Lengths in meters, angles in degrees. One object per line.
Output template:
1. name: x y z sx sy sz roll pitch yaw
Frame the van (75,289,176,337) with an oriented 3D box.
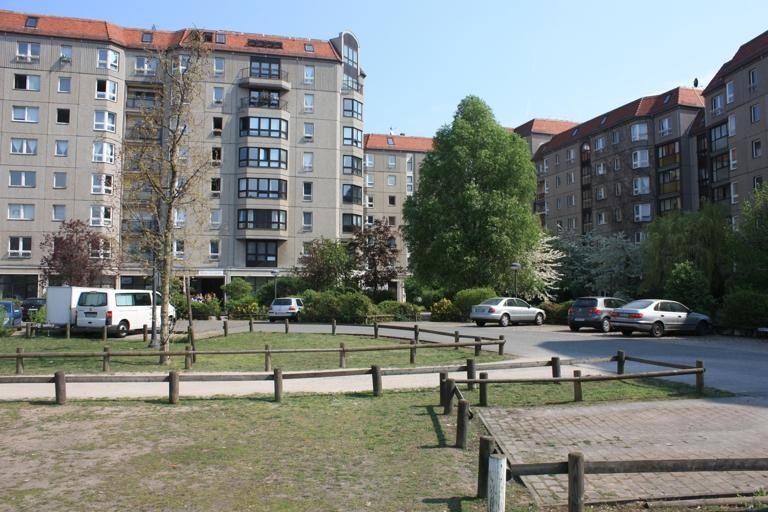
1. van: -15.530 3.192 54.618 3.004 2.601 5.413 -3 -3 37

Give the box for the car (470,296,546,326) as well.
1. car: 8.346 3.698 61.617 4.627 1.497 2.070 0 -2 -31

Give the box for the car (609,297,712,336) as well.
1. car: 17.503 3.765 57.629 7.749 2.886 3.786 -1 -3 19

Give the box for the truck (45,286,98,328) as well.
1. truck: -18.967 2.858 54.241 2.190 2.256 3.217 0 -3 6
